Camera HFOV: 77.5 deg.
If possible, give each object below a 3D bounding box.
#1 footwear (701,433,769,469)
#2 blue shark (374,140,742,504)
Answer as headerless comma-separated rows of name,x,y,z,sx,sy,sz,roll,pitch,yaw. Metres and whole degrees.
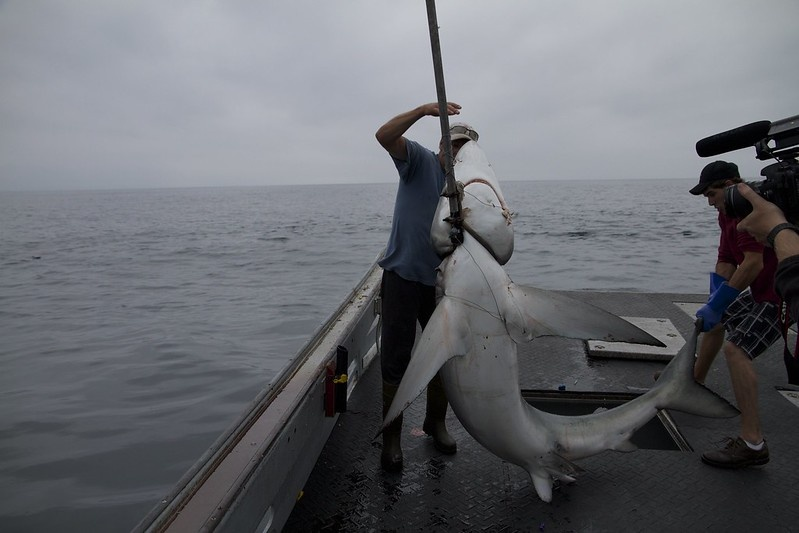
footwear,2.461,1.374,3.731,0.458,0.206,0.211,-2,-2,5
blue shark,0.800,0.375,3.414,1.047,3.145,1.876,-14,6,9
